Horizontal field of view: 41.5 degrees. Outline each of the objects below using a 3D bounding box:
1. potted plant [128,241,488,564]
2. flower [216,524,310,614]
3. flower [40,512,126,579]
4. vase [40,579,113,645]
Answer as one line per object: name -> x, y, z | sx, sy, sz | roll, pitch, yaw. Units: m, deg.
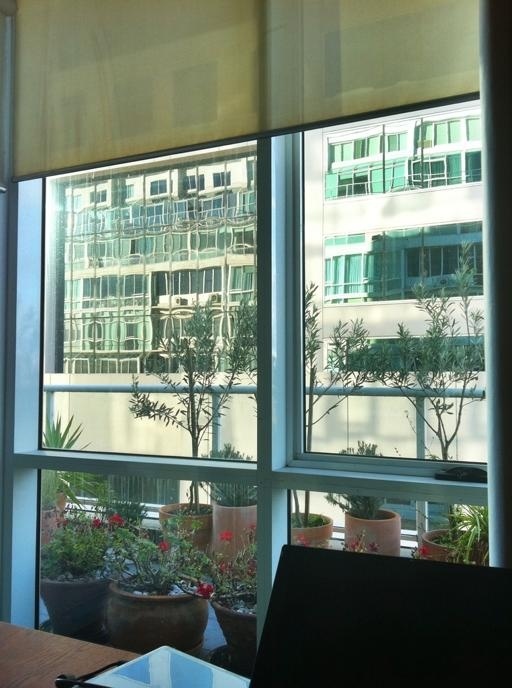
potted plant -> 0.440, 0.135, 2.241 | 0.617, 0.909, 0.532 | 2, -1, 29
flower -> 0.013, 0.755, 2.560 | 0.325, 0.397, 0.396 | -1, -5, 13
flower -> -0.714, 0.822, 2.735 | 0.426, 0.293, 0.073 | -1, 9, 28
vase -> -0.730, 1.040, 2.764 | 0.260, 0.294, 0.254 | -2, -10, 5
